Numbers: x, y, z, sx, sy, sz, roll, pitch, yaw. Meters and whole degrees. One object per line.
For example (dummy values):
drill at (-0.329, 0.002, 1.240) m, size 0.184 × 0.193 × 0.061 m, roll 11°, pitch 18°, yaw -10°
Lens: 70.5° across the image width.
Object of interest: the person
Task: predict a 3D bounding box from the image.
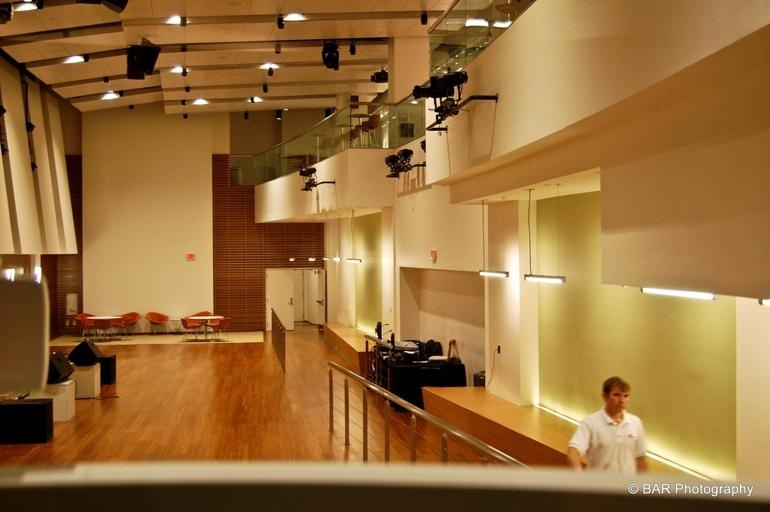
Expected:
person at (1.624, 1.281, 4.034) m, size 0.634 × 0.715 × 0.394 m, roll 0°, pitch 0°, yaw -38°

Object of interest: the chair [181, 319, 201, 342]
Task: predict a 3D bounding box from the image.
chair at (-6.388, 2.410, 17.907) m, size 0.519 × 0.729 × 0.605 m, roll -8°, pitch -8°, yaw 31°

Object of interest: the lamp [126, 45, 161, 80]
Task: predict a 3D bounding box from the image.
lamp at (-5.057, -4.057, 11.301) m, size 0.729 × 0.768 × 0.210 m, roll 10°, pitch 9°, yaw -11°

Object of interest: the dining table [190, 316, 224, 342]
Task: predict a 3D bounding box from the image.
dining table at (-5.831, 2.270, 18.049) m, size 0.990 × 0.708 × 1.003 m, roll 0°, pitch -3°, yaw -7°

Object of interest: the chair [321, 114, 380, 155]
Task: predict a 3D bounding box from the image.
chair at (-0.723, -2.844, 12.682) m, size 0.433 × 0.751 × 1.682 m, roll 0°, pitch 0°, yaw -39°

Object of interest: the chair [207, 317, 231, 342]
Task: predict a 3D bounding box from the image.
chair at (-5.525, 2.408, 18.035) m, size 0.630 × 0.813 × 0.714 m, roll 2°, pitch 0°, yaw 37°

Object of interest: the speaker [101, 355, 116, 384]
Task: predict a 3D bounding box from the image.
speaker at (-5.797, 2.358, 11.379) m, size 0.296 × 0.587 × 0.219 m, roll 0°, pitch 0°, yaw -30°

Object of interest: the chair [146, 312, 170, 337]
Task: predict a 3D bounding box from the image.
chair at (-7.841, 2.278, 18.708) m, size 0.732 × 0.696 × 0.739 m, roll 2°, pitch 5°, yaw 44°

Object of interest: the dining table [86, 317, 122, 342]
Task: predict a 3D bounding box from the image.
dining table at (-8.999, 2.311, 17.505) m, size 0.993 × 0.714 × 1.007 m, roll 1°, pitch -4°, yaw -5°
